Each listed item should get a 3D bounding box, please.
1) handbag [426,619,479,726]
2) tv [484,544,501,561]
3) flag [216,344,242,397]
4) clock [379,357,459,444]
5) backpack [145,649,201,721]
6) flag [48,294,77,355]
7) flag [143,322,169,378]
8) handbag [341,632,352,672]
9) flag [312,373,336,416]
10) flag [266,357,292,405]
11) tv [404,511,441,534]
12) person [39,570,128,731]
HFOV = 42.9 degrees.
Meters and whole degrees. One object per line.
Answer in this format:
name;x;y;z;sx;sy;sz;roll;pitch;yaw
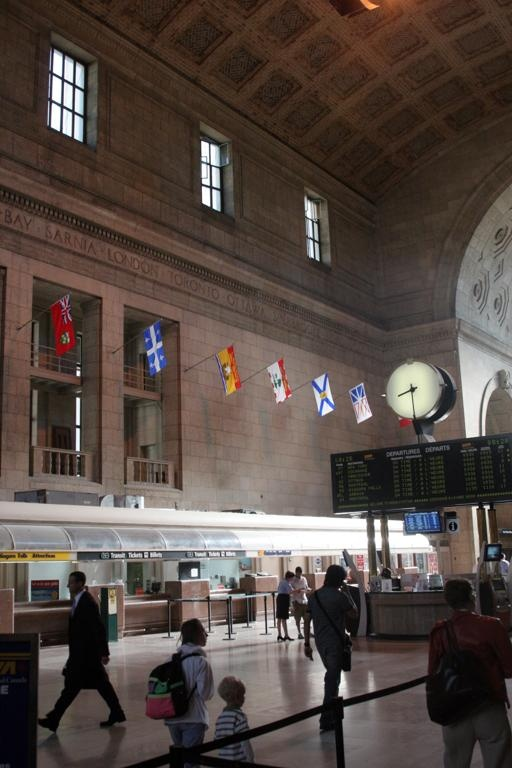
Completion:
handbag;0.948;1.398;3.194;0.309;0.492;0.195;-11;10;-3
tv;5.087;3.568;13.921;0.221;0.377;0.768;-12;-13;41
flag;-0.823;-0.503;19.450;0.541;1.375;0.968;-5;-10;8
clock;4.179;0.396;16.288;1.478;2.069;0.844;-2;-10;-10
backpack;-0.462;1.739;3.805;0.342;0.328;0.240;6;-19;-17
flag;-4.478;-1.445;15.078;0.479;1.481;1.004;0;-10;-16
flag;-2.716;-1.012;17.399;0.506;1.435;0.615;-1;-10;-12
handbag;0.838;2.465;6.031;0.088;0.302;0.300;-4;-10;5
flag;2.373;0.275;22.840;0.592;1.442;1.684;-5;-10;7
flag;0.755;-0.177;21.034;0.596;1.399;1.144;-4;-10;2
tv;3.885;3.178;15.081;0.930;0.482;0.423;-8;-11;26
person;-1.681;2.585;6.299;0.797;1.503;0.819;-1;-10;-13
